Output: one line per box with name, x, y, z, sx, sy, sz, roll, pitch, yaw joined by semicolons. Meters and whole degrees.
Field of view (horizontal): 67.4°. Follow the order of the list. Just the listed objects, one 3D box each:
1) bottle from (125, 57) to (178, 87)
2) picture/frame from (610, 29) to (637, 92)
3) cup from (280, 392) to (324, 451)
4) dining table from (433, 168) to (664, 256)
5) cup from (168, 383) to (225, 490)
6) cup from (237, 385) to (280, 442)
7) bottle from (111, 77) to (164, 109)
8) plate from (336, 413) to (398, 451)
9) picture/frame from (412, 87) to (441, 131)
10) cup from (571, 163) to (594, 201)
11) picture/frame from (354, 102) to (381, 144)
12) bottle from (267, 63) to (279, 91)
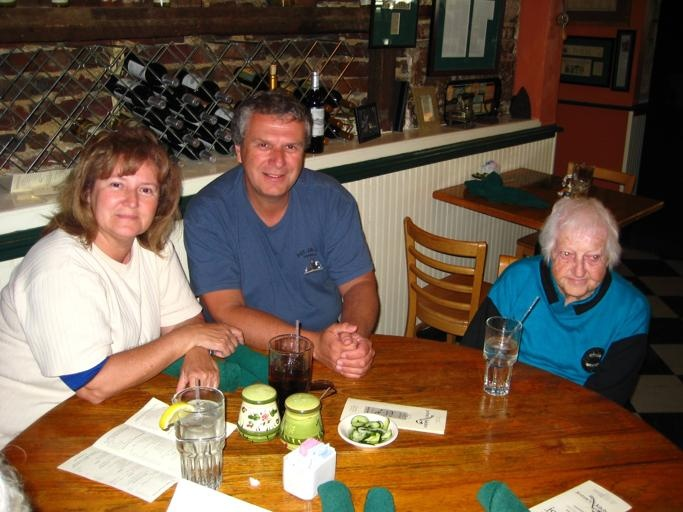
bottle;-0.939;-0.898;2.505;0.318;0.095;0.098;27;60;30
picture/frame;2.929;-2.027;5.314;0.069;0.596;0.205;-19;26;-38
cup;-0.095;0.416;1.334;0.126;0.126;0.127;2;10;0
dining table;1.302;-0.349;3.301;0.911;0.550;0.928;25;33;36
cup;-0.327;0.416;1.203;0.119;0.211;0.159;-8;21;-15
cup;-0.207;0.408;1.360;0.128;0.125;0.126;1;18;0
bottle;-0.971;-0.790;2.467;0.199;0.059;0.054;21;66;8
plate;0.069;0.443;1.334;0.095;0.033;0.097;6;9;44
picture/frame;0.576;-1.004;3.509;0.050;0.362;0.312;-8;1;41
cup;1.515;-0.471;3.220;0.110;0.182;0.180;7;21;23
picture/frame;0.159;-0.810;3.150;0.029;0.227;0.275;-7;12;31
bottle;-0.348;-0.921;2.621;0.045;0.124;0.210;-5;19;-8
